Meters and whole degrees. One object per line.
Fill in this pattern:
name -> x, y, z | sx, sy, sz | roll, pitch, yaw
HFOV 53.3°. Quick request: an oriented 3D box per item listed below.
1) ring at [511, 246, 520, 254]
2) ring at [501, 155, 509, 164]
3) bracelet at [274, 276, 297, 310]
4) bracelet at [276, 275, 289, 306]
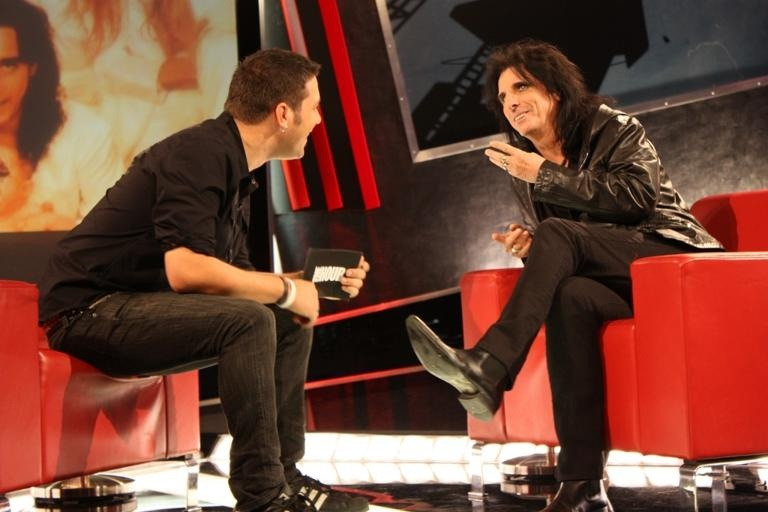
ring -> 0.542, -0.030, 3.142 | 0.035, 0.029, 0.008 | 1, 4, 33
ring -> 0.464, -0.370, 2.941 | 0.006, 0.021, 0.025 | -5, 8, -38
bracelet -> -0.352, 0.132, 2.572 | 0.038, 0.090, 0.085 | 3, -30, -35
bracelet -> -0.337, 0.124, 2.573 | 0.023, 0.073, 0.076 | 2, -31, -36
